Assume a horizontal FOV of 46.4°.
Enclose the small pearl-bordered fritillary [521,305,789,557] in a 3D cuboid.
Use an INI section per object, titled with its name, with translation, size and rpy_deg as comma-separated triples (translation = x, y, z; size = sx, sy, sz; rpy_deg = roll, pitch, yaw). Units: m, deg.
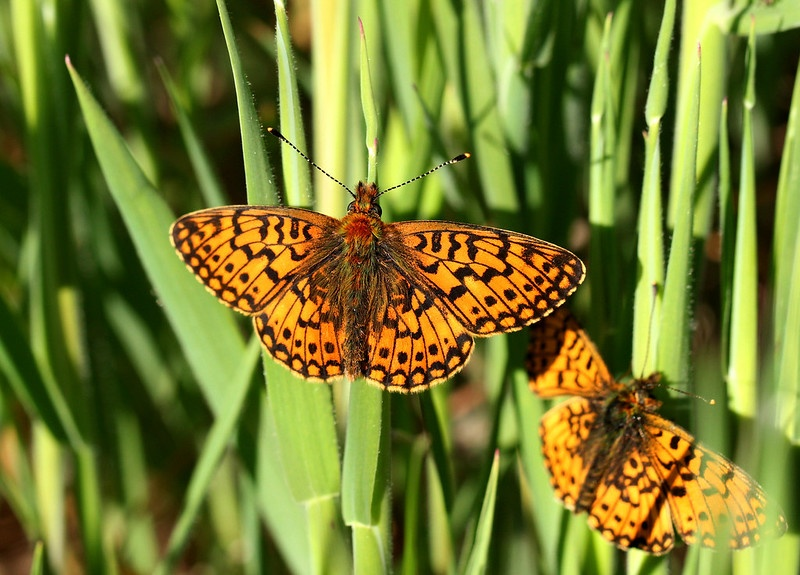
[small pearl-bordered fritillary]
translation = 0.428, 0.289, 1.786
size = 0.600, 0.333, 0.031
rpy_deg = 40, -9, 38
